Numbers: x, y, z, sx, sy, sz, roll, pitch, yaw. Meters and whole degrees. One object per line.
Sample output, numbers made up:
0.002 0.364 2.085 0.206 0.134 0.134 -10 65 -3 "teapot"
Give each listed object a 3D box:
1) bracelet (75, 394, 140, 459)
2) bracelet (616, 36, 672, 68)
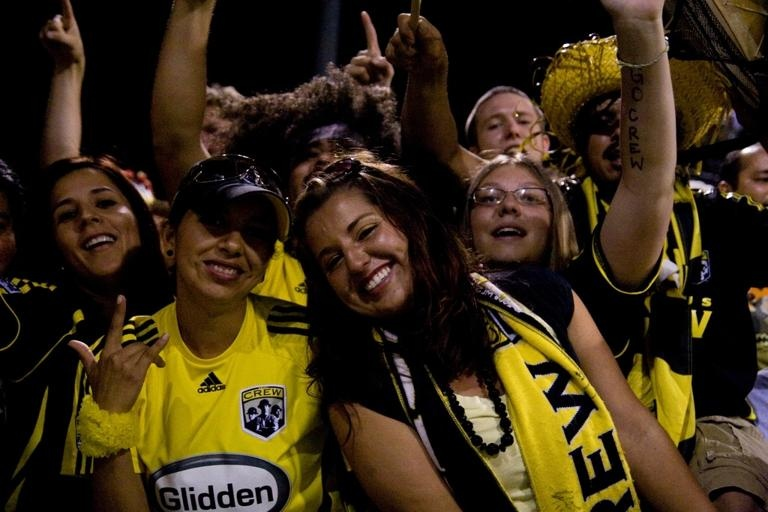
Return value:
-1.197 0.765 3.303 0.264 0.242 0.280 2 3 -1 "bracelet"
1.080 -0.805 3.005 0.147 0.174 0.047 -11 23 19 "bracelet"
